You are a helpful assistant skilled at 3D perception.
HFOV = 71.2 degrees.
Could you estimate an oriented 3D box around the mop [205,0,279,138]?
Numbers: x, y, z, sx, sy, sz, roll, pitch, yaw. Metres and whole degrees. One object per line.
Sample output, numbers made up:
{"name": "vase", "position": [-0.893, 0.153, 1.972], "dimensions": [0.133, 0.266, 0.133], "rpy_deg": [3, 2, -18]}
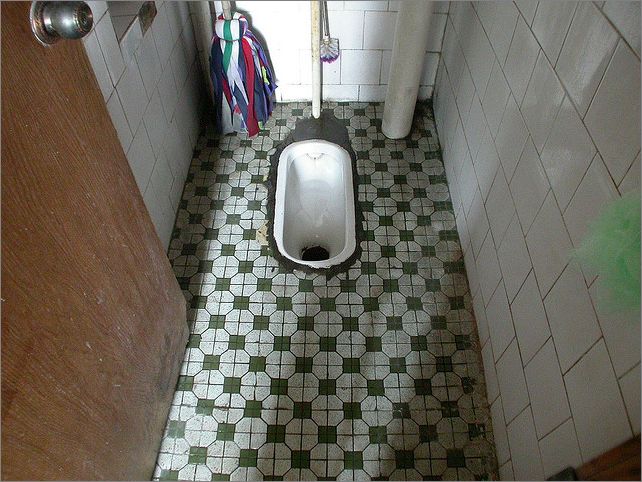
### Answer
{"name": "mop", "position": [-0.536, -1.113, 2.926], "dimensions": [0.405, 0.811, 0.298], "rpy_deg": [-6, 51, -4]}
